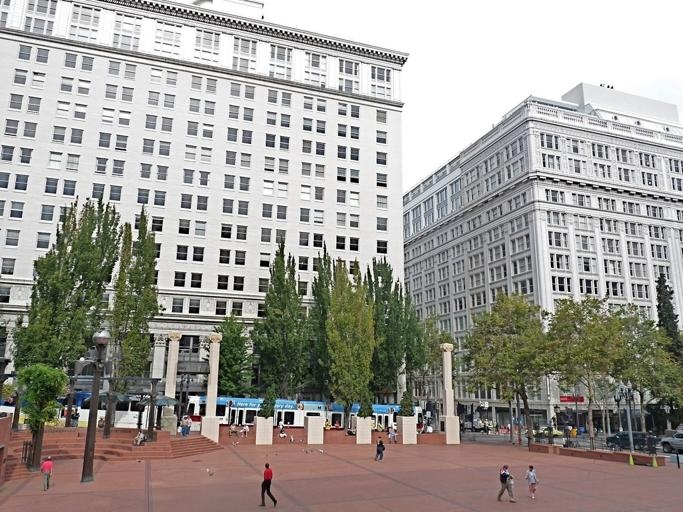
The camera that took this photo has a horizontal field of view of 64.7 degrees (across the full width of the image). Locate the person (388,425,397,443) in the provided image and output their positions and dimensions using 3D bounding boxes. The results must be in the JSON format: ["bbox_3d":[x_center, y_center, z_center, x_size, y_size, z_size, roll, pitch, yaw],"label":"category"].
[{"bbox_3d":[4.841,17.137,51.489,0.619,1.497,1.855,-2,-17,12],"label":"person"}]

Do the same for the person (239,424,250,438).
[{"bbox_3d":[-9.744,17.702,54.156,1.369,0.372,1.714,1,6,-2],"label":"person"}]

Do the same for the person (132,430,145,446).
[{"bbox_3d":[-15.222,13.870,40.777,0.790,0.892,0.988,7,-18,-19],"label":"person"}]

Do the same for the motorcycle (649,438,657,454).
[{"bbox_3d":[22.838,14.053,39.943,0.457,1.194,1.584,-7,-18,26],"label":"motorcycle"}]

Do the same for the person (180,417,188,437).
[{"bbox_3d":[-13.402,14.666,46.407,0.509,1.519,1.486,5,-17,-11],"label":"person"}]

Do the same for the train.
[{"bbox_3d":[-4.562,16.584,56.256,29.801,4.334,3.791,6,-16,-20],"label":"train"}]
